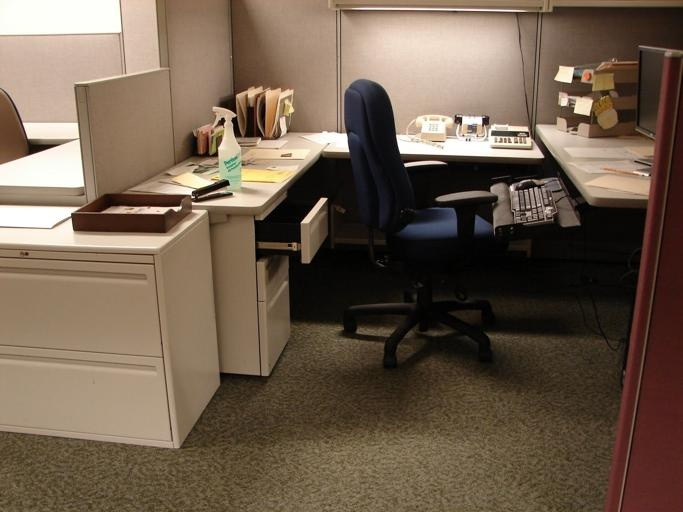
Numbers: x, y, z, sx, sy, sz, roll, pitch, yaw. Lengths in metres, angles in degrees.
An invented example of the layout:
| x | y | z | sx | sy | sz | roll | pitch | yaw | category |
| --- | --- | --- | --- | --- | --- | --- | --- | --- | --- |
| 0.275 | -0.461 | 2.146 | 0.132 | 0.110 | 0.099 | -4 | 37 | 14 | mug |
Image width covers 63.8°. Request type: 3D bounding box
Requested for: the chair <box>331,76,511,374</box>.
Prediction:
| x | y | z | sx | sy | sz | roll | pitch | yaw | category |
| --- | --- | --- | --- | --- | --- | --- | --- | --- | --- |
| 0.444 | -0.188 | 2.637 | 0.818 | 1.255 | 0.834 | -4 | 14 | -19 | chair |

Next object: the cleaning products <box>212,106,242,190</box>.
| x | y | z | sx | sy | sz | roll | pitch | yaw | category |
| --- | --- | --- | --- | --- | --- | --- | --- | --- | --- |
| -0.512 | -0.492 | 2.455 | 0.105 | 0.326 | 0.344 | -7 | 23 | -11 | cleaning products |

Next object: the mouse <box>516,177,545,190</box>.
| x | y | z | sx | sy | sz | roll | pitch | yaw | category |
| --- | --- | --- | --- | --- | --- | --- | --- | --- | --- |
| 0.948 | -0.364 | 2.770 | 0.099 | 0.027 | 0.109 | 3 | 16 | 27 | mouse |

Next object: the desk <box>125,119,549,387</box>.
| x | y | z | sx | sy | sz | roll | pitch | yaw | category |
| --- | --- | --- | --- | --- | --- | --- | --- | --- | --- |
| -0.111 | -0.035 | 2.578 | 1.430 | 0.628 | 1.465 | -1 | 24 | 1 | desk |

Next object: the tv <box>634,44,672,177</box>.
| x | y | z | sx | sy | sz | roll | pitch | yaw | category |
| --- | --- | --- | --- | --- | --- | --- | --- | --- | --- |
| 1.476 | -0.772 | 2.626 | 0.114 | 0.428 | 0.439 | 5 | 24 | 18 | tv |

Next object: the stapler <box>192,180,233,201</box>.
| x | y | z | sx | sy | sz | roll | pitch | yaw | category |
| --- | --- | --- | --- | --- | --- | --- | --- | --- | --- |
| -0.547 | -0.276 | 2.318 | 0.034 | 0.071 | 0.184 | 27 | 35 | 31 | stapler |
